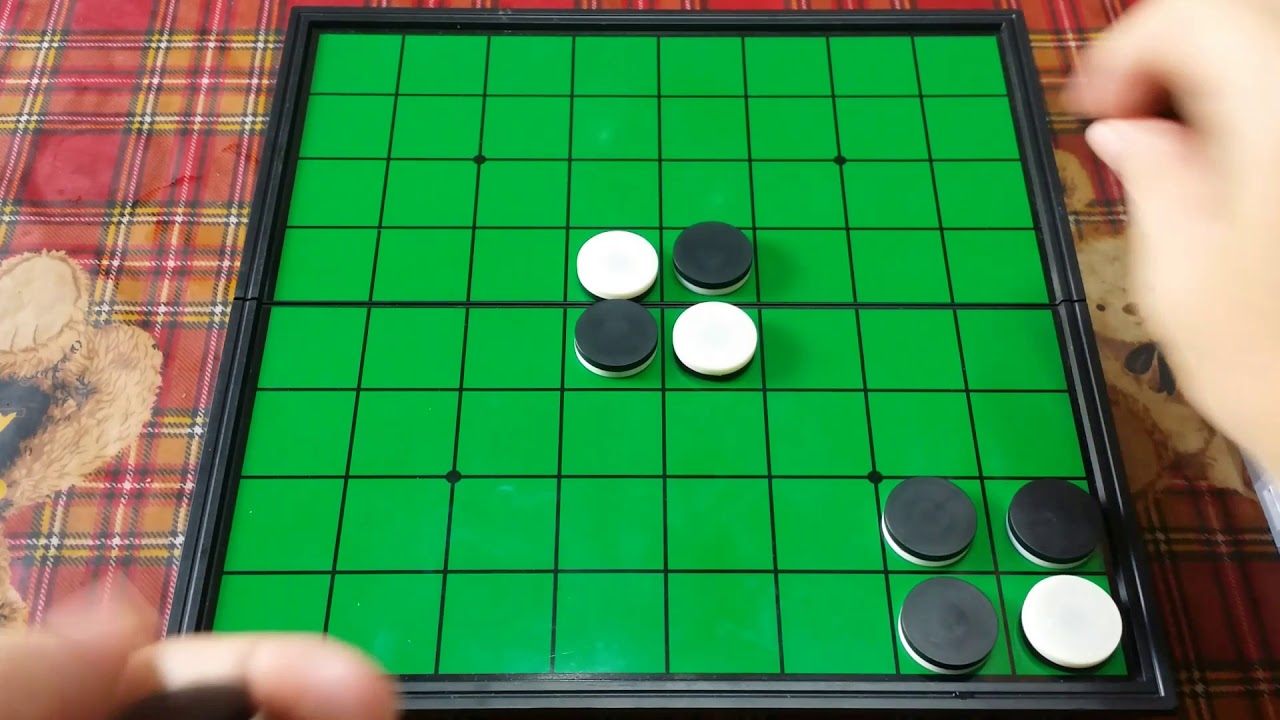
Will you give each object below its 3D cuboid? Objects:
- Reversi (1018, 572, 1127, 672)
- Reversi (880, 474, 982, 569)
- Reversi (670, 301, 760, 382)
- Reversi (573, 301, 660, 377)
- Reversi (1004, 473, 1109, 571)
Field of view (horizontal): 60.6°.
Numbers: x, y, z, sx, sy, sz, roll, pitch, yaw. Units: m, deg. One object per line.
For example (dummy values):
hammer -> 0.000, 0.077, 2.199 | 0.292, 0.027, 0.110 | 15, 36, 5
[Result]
Reversi -> 2.845, 1.733, 7.254 | 0.625, 0.128, 0.587 | 24, 72, 3
Reversi -> 1.955, 1.096, 7.434 | 0.599, 0.165, 0.596 | 7, 72, -3
Reversi -> 0.527, -0.167, 7.753 | 0.560, 0.104, 0.488 | 12, 72, -1
Reversi -> -0.170, -0.152, 7.791 | 0.567, 0.145, 0.550 | 1, 73, -5
Reversi -> 2.817, 1.112, 7.435 | 0.614, 0.154, 0.630 | -19, 75, -10
